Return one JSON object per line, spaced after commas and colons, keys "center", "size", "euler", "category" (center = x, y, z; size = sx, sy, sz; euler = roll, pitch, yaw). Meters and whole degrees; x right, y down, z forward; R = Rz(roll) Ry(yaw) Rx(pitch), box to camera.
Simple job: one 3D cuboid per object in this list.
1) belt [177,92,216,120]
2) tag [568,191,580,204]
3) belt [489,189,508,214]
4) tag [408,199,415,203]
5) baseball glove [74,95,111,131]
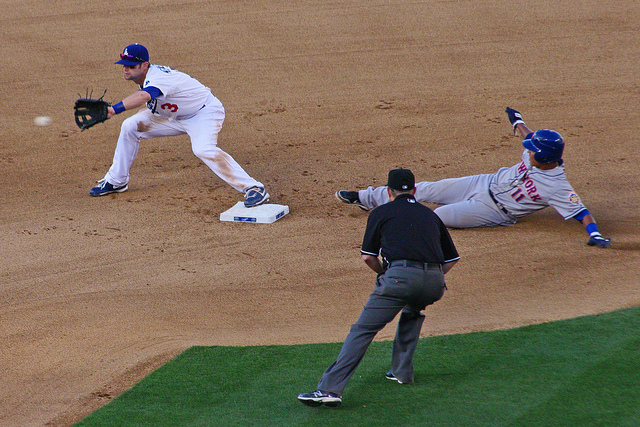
{"center": [-2.099, -1.808, 19.028], "size": [0.367, 0.351, 0.344], "euler": [-38, 5, 2], "category": "belt"}
{"center": [3.966, -0.263, 17.787], "size": [0.166, 0.201, 0.120], "euler": [-1, 22, 8], "category": "tag"}
{"center": [2.853, -0.192, 18.257], "size": [0.298, 0.373, 0.087], "euler": [13, 29, 39], "category": "belt"}
{"center": [1.235, -0.183, 15.396], "size": [0.086, 0.040, 0.061], "euler": [-2, 19, 3], "category": "tag"}
{"center": [-3.757, -1.628, 18.591], "size": [0.407, 0.536, 0.620], "euler": [-22, 26, -38], "category": "baseball glove"}
